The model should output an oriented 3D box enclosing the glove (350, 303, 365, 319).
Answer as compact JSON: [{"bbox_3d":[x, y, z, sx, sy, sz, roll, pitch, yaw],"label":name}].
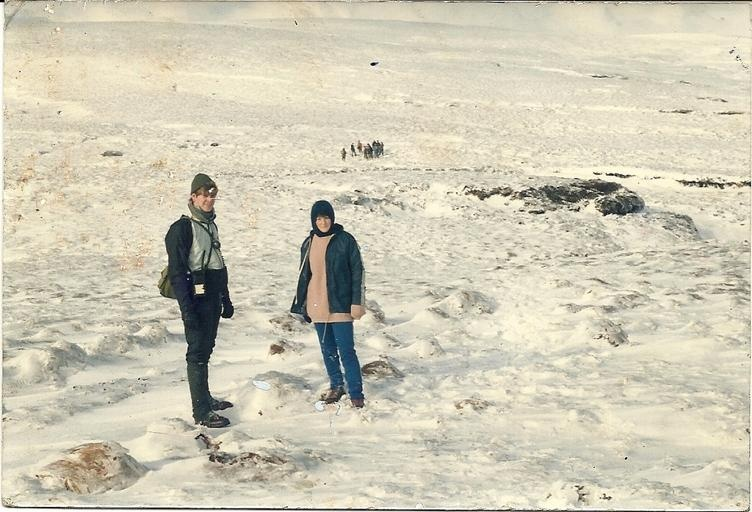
[{"bbox_3d":[-0.687,1.716,32.650,0.547,0.378,0.503,-2,2,-23],"label":"glove"}]

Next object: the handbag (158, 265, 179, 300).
[{"bbox_3d":[-6.420,0.816,32.258,0.423,1.082,0.774,-7,17,-15],"label":"handbag"}]

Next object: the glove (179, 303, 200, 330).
[{"bbox_3d":[-5.641,1.875,32.098,0.509,0.784,0.266,-5,18,-9],"label":"glove"}]
